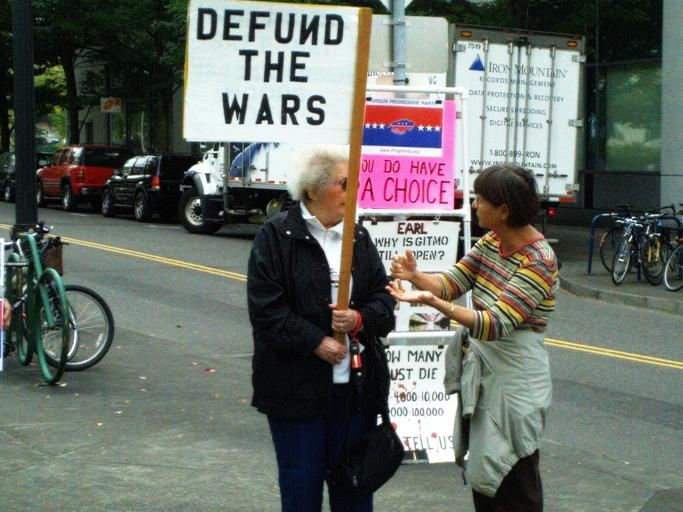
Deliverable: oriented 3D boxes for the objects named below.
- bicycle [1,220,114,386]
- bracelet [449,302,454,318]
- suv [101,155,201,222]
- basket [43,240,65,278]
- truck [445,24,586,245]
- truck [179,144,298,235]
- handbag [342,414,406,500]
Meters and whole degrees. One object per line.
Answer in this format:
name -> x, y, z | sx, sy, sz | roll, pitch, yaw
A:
bicycle -> -2.866, 0.475, 9.459 | 0.992, 1.346, 0.992 | 5, 10, 20
bracelet -> 0.662, 0.334, 5.860 | 0.016, 0.065, 0.064 | -1, 18, -13
suv -> -5.102, -1.885, 26.131 | 1.426, 1.450, 2.990 | -2, 11, -32
basket -> -3.012, 0.039, 10.161 | 0.198, 0.409, 0.397 | 2, 6, 13
truck -> 3.049, -2.627, 17.046 | 1.949, 2.793, 4.100 | 1, 5, -3
truck -> -1.828, -1.361, 21.133 | 1.610, 2.202, 3.619 | 0, 7, -29
handbag -> 0.194, 1.204, 5.848 | 0.395, 0.455, 0.157 | -4, 10, -30
